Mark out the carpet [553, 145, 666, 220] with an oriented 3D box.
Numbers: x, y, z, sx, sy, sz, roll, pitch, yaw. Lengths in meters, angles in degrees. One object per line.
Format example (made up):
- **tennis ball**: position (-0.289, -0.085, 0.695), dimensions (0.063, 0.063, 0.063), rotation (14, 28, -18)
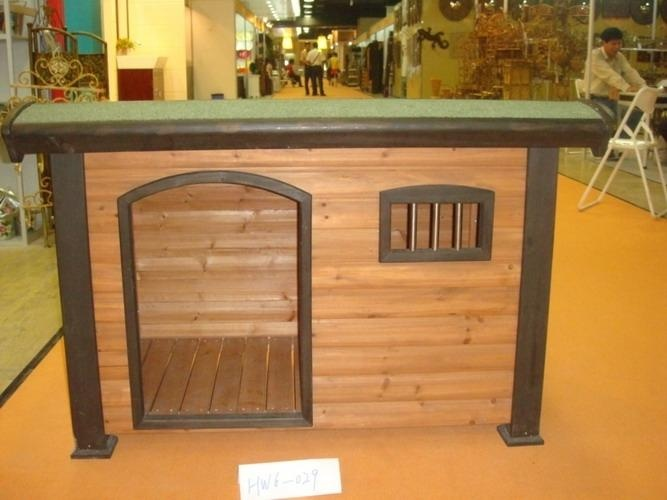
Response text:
- **carpet**: position (3.419, -0.810, 6.976), dimensions (0.766, 0.327, 1.607), rotation (-14, 30, -23)
